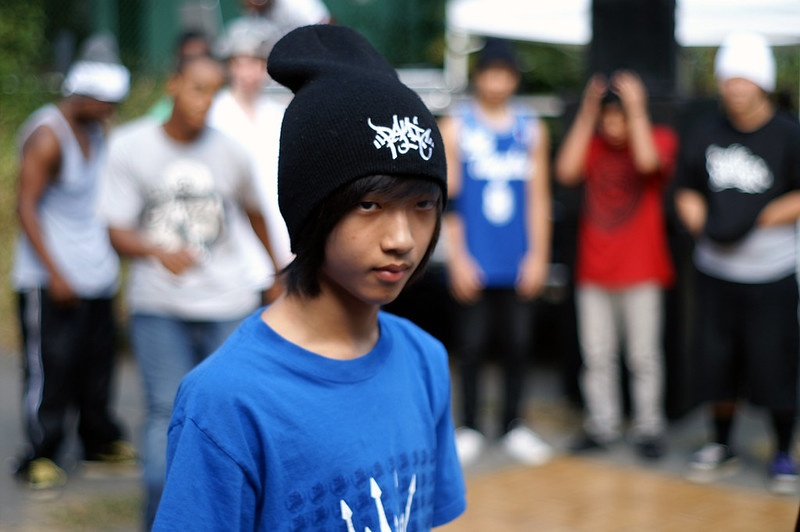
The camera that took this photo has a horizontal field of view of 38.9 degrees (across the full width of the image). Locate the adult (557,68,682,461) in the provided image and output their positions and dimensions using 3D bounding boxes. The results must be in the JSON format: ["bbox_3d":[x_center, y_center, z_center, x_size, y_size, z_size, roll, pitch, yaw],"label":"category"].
[{"bbox_3d":[1.225,-0.029,6.332,0.615,2.213,0.692,1,0,-23],"label":"adult"}]

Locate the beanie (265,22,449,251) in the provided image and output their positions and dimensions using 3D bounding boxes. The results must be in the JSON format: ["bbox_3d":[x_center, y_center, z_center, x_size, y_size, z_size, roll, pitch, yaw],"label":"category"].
[{"bbox_3d":[-0.158,-0.536,4.361,0.557,0.883,0.608,2,7,37],"label":"beanie"}]

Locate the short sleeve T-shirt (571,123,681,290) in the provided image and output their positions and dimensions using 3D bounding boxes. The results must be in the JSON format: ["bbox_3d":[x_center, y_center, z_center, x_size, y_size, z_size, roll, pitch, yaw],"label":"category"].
[{"bbox_3d":[1.253,-0.435,6.339,0.533,0.988,0.351,13,34,28],"label":"short sleeve T-shirt"}]

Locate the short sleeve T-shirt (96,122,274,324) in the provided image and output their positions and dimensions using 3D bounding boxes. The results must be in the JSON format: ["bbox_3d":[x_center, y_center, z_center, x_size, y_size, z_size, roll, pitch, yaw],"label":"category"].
[{"bbox_3d":[-1.017,-0.228,5.548,0.841,1.064,0.496,-4,4,-31],"label":"short sleeve T-shirt"}]

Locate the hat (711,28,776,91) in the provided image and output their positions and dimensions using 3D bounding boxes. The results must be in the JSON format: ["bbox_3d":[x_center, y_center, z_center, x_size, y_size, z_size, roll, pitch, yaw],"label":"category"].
[{"bbox_3d":[1.832,-1.104,5.998,0.219,0.336,0.336,3,16,15],"label":"hat"}]
